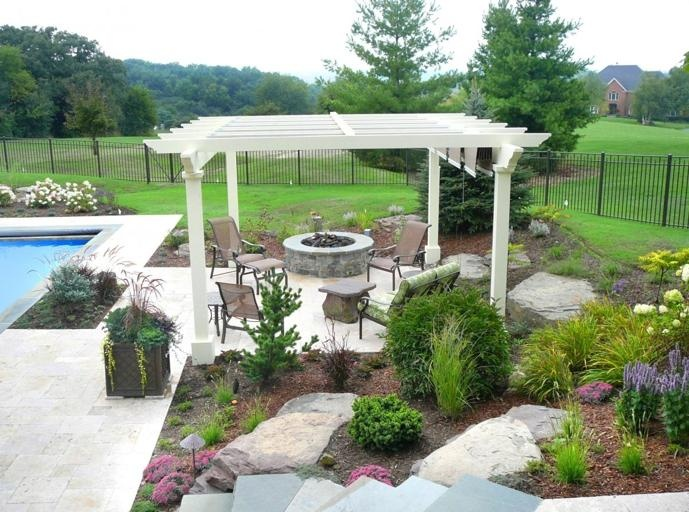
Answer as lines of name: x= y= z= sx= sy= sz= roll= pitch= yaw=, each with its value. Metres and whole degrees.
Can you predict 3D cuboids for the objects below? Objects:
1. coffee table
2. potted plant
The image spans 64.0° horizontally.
coffee table: x=0.034 y=0.899 z=9.626 sx=0.762 sy=0.513 sz=0.803 roll=8 pitch=15 yaw=32
potted plant: x=-2.798 y=1.096 z=7.486 sx=1.000 sy=1.626 sz=0.511 roll=-7 pitch=14 yaw=-20
